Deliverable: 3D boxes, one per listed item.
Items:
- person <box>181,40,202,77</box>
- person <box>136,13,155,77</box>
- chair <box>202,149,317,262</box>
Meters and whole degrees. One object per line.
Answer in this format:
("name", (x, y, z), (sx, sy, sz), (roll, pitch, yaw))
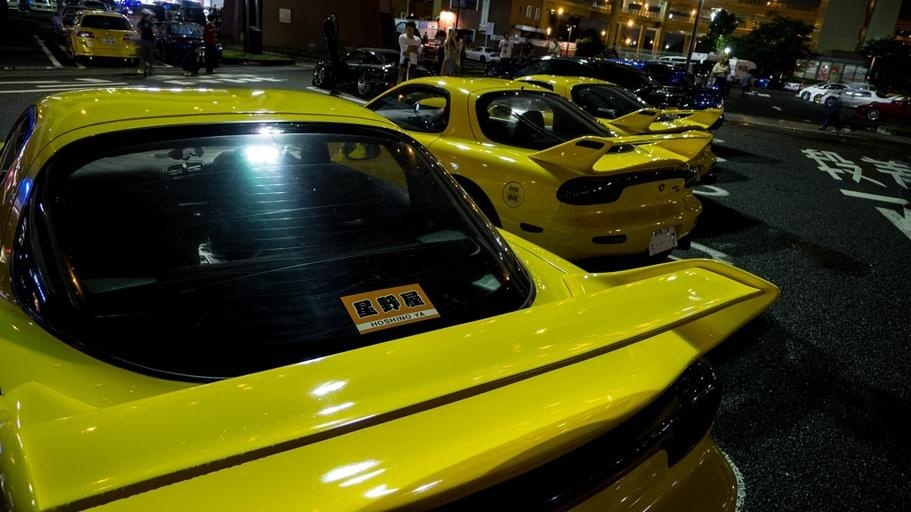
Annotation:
("person", (-8.050, -5.983, 16.170), (0.550, 0.921, 0.419), (13, 29, -40))
("person", (-9.112, -6.232, 15.550), (0.564, 1.700, 0.937), (-10, 35, -25))
("chair", (-1.110, -0.230, 2.989), (0.449, 0.236, 0.733), (0, 56, -21))
